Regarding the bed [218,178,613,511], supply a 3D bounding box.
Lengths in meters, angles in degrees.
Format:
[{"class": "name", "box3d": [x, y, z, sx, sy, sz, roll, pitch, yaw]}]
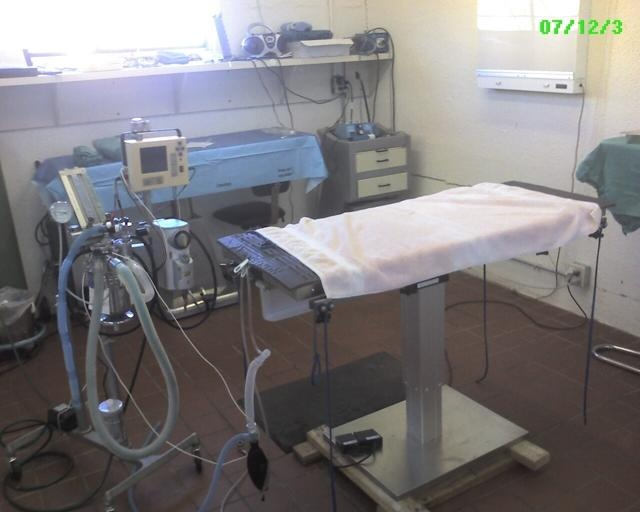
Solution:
[{"class": "bed", "box3d": [0.460, 0.413, 2.414, 1.364, 0.971, 0.730, -15, 21, -32]}]

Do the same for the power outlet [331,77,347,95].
[{"class": "power outlet", "box3d": [0.170, -1.515, 4.849, 0.126, 0.174, 0.147, -20, 31, -38]}]

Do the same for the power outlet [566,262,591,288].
[{"class": "power outlet", "box3d": [1.693, 0.121, 3.570, 0.063, 0.117, 0.114, -24, 41, -26]}]

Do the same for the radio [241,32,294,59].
[{"class": "radio", "box3d": [-0.429, -1.616, 4.221, 0.392, 0.172, 0.219, -20, 41, -32]}]

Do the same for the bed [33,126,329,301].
[{"class": "bed", "box3d": [-0.835, -0.427, 3.959, 1.685, 0.437, 1.038, -13, 30, -24]}]
